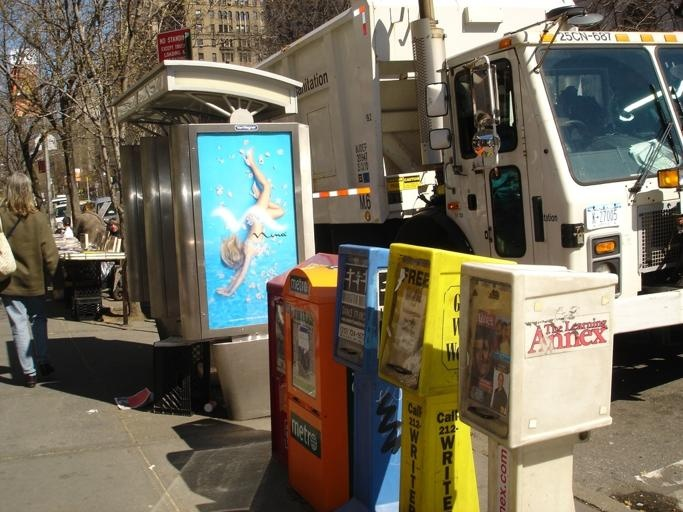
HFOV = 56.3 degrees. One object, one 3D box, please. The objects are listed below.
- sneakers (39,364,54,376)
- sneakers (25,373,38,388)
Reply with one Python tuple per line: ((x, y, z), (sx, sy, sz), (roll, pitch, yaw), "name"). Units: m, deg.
((-3.595, 1.406, 7.860), (0.141, 0.169, 0.145), (3, 1, 32), "sneakers")
((-3.632, 1.476, 7.479), (0.083, 0.119, 0.259), (0, -6, -25), "sneakers")
